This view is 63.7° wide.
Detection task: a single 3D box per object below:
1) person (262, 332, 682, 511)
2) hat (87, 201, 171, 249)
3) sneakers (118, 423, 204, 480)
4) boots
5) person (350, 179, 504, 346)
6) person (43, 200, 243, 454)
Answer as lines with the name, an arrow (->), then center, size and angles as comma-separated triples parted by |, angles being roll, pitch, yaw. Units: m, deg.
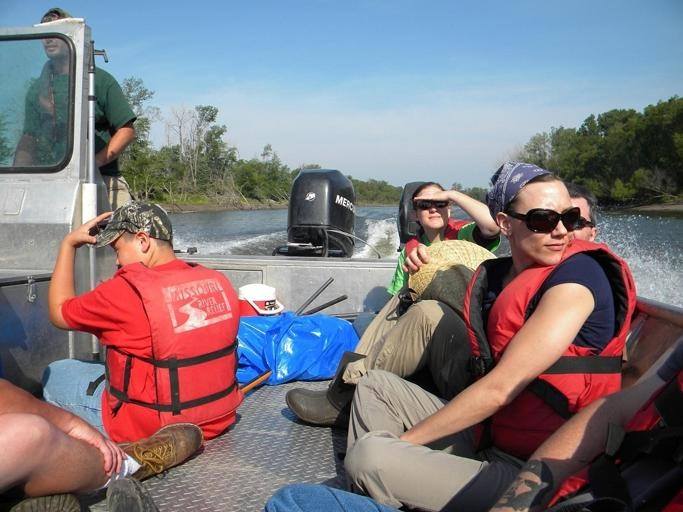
person -> 0.462, 0.599, 2.256 | 1.433, 0.834, 0.643 | 5, 11, 2
hat -> -1.109, -0.151, 2.915 | 0.353, 0.186, 0.228 | 5, 3, -4
sneakers -> -0.831, 0.906, 2.639 | 0.420, 0.143, 0.152 | -11, 5, -37
boots -> -0.149, 0.766, 3.201 | 0.541, 0.395, 0.279 | 8, 1, 1
person -> 0.827, -0.265, 4.582 | 1.178, 0.649, 1.575 | -14, 33, 16
person -> -0.970, 0.237, 3.249 | 1.213, 1.342, 1.059 | 15, 11, 40
